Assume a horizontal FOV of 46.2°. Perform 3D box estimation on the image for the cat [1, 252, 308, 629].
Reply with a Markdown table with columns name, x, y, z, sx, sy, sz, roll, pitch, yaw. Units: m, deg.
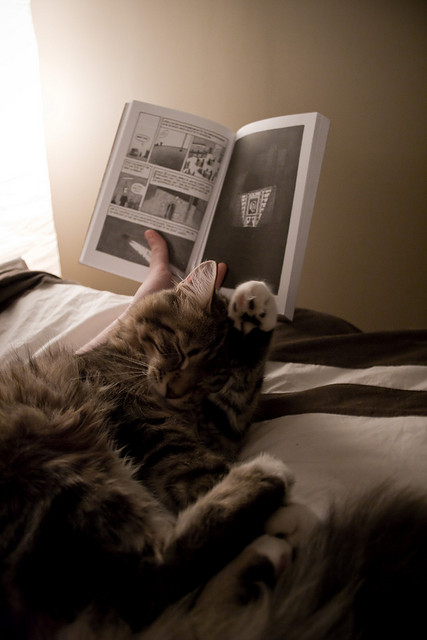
| name | x | y | z | sx | sy | sz | roll | pitch | yaw |
| --- | --- | --- | --- | --- | --- | --- | --- | --- | --- |
| cat | -0.079 | 0.083 | 0.663 | 0.378 | 0.269 | 0.493 | 15 | 8 | -1 |
